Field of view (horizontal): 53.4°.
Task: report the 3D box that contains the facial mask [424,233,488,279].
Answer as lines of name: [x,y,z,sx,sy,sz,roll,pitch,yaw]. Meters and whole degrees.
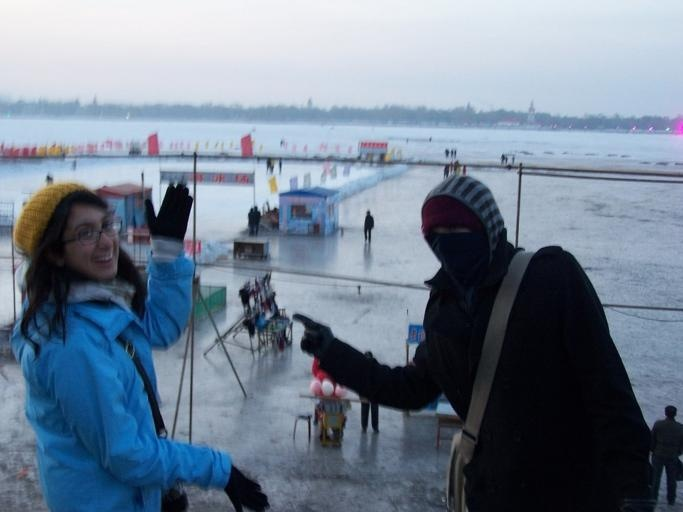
facial mask: [0.504,0.008,2.975,0.219,0.250,0.272,0,20,27]

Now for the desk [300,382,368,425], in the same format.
desk: [-0.164,2.041,9.457,0.825,0.714,0.989,-1,-1,20]

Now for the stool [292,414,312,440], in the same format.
stool: [-0.564,2.421,9.645,0.263,0.373,0.298,0,-5,2]

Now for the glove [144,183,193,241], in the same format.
glove: [-0.930,-0.186,3.656,0.228,0.117,0.526,11,44,-18]
